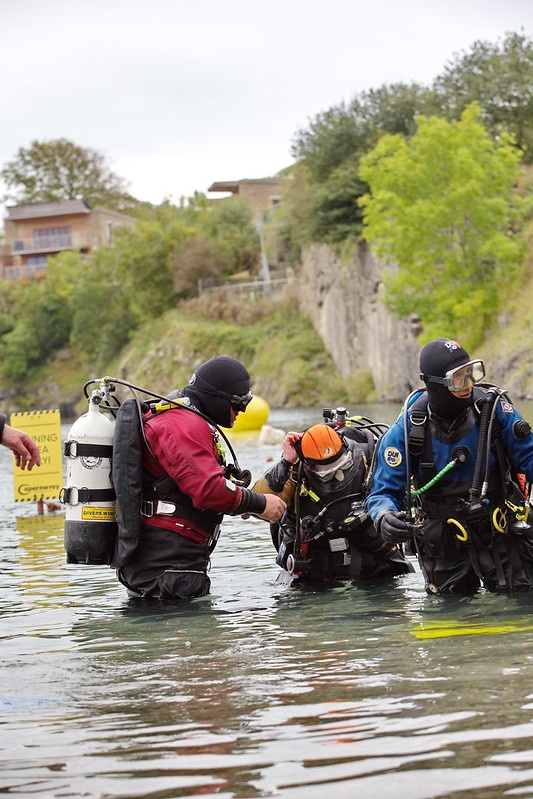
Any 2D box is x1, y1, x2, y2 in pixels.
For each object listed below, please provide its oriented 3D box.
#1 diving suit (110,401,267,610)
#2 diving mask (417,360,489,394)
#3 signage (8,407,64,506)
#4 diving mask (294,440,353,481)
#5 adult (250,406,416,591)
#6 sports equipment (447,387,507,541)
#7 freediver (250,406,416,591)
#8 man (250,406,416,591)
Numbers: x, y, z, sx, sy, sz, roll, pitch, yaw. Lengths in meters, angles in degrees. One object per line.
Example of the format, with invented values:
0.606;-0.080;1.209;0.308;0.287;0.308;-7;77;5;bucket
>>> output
-0.542;0.460;6.076;1.111;1.309;1.205;-3;9;-10;diving suit
0.921;-0.139;5.146;0.246;0.094;0.222;8;18;36;diving mask
-2.318;0.570;10.752;0.483;0.605;0.463;-3;-2;-13;signage
0.364;0.331;6.112;0.228;0.097;0.269;-23;30;-2;diving mask
0.382;0.648;6.244;1.128;1.036;0.783;-8;12;-2;adult
1.075;0.263;5.167;0.242;0.582;0.191;-3;-1;3;sports equipment
0.392;0.645;6.226;1.168;1.022;0.804;-9;11;-7;freediver
0.409;0.651;6.229;1.148;1.034;0.803;-8;11;-5;man
